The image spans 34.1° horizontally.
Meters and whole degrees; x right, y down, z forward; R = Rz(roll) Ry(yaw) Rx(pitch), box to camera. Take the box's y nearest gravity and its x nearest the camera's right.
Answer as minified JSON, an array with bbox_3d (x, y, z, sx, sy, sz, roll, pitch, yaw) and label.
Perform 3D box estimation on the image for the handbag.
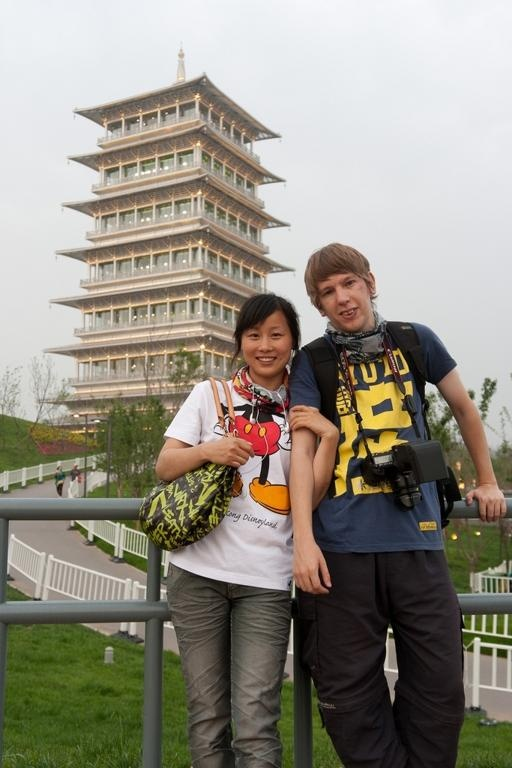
[{"bbox_3d":[-0.221,0.371,2.538,0.289,0.259,0.136,-8,-15,35],"label":"handbag"}]

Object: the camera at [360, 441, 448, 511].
[{"bbox_3d":[0.426,0.234,2.571,0.313,0.228,0.200,-1,4,-13],"label":"camera"}]
